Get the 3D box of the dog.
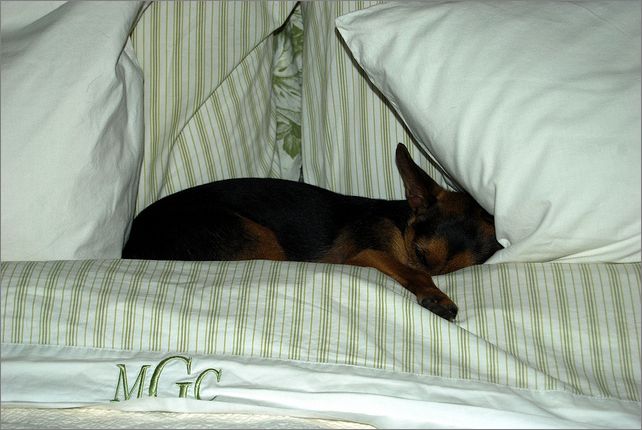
[{"bbox_3d":[-0.023,0.064,3.548,2.105,0.847,1.071,2,94,-7],"label":"dog"}]
